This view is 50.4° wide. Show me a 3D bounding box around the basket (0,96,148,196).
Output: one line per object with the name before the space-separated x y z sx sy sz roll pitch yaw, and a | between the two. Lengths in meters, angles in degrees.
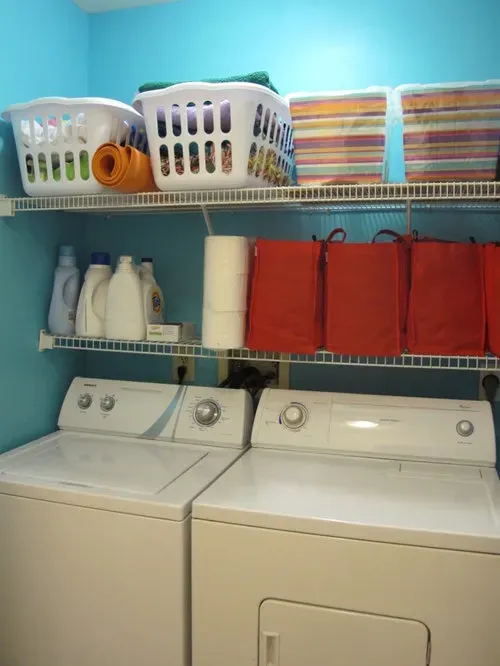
basket | -0.533 -0.547 1.508 0.252 0.226 0.354 -2 -2 10

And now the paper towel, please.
paper towel | -0.070 -0.115 1.484 0.126 0.310 0.053 -1 4 -8
